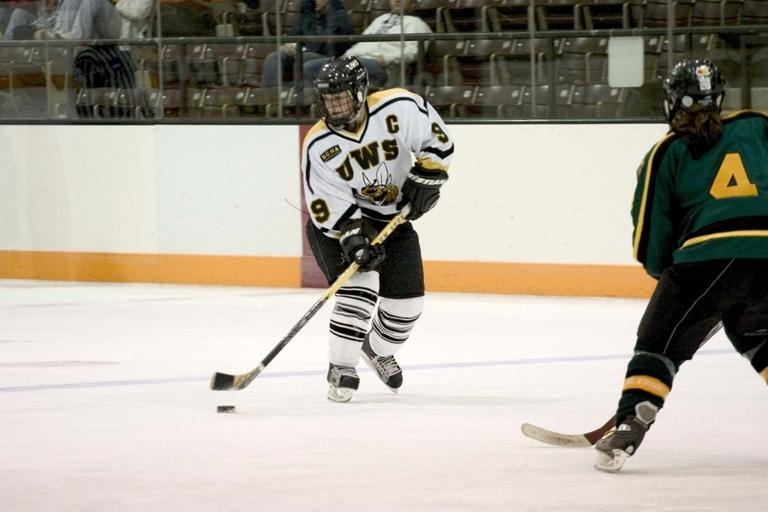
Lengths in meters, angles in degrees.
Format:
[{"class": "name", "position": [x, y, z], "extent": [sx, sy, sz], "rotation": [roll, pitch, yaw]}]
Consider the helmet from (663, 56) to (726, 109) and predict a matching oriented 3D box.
[{"class": "helmet", "position": [1.249, -0.702, 4.406], "extent": [0.220, 0.187, 0.225], "rotation": [1, 23, 2]}]

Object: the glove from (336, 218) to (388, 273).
[{"class": "glove", "position": [-0.106, -0.047, 5.309], "extent": [0.209, 0.254, 0.173], "rotation": [-2, 12, -5]}]

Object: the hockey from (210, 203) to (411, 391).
[{"class": "hockey", "position": [-0.405, 0.255, 6.312], "extent": [1.625, 0.215, 0.187], "rotation": [-37, 15, -8]}]

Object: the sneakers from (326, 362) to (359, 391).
[{"class": "sneakers", "position": [-0.198, 0.590, 5.396], "extent": [0.101, 0.105, 0.165], "rotation": [6, 20, -28]}]

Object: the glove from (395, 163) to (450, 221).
[{"class": "glove", "position": [0.166, -0.311, 5.433], "extent": [0.203, 0.298, 0.123], "rotation": [37, 1, 13]}]

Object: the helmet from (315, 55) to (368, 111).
[{"class": "helmet", "position": [-0.187, -0.833, 5.284], "extent": [0.234, 0.226, 0.293], "rotation": [-10, 7, 30]}]
